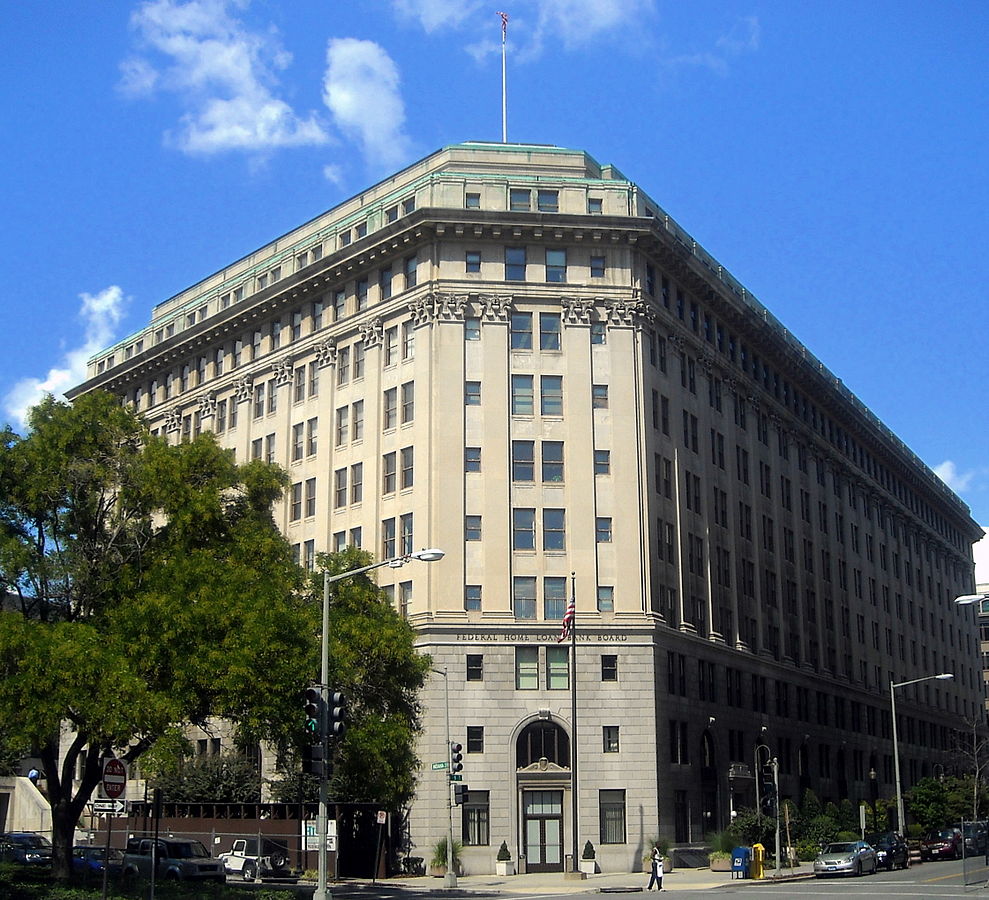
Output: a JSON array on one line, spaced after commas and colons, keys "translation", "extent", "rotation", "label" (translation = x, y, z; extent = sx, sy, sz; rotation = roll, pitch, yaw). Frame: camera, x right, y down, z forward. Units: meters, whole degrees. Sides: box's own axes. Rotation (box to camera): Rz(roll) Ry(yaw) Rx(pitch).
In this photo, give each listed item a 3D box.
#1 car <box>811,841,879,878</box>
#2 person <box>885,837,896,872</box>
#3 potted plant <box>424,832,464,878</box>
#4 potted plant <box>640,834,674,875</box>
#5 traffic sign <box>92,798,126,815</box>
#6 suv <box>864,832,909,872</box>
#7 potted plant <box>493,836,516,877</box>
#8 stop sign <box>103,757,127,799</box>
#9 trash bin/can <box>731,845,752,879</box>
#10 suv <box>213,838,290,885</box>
[{"translation": [16.277, 19.088, 71.405], "extent": [1.771, 2.024, 4.522], "rotation": [-11, -25, 28], "label": "car"}, {"translation": [19.976, 20.503, 77.401], "extent": [0.443, 1.402, 0.956], "rotation": [5, -2, 1], "label": "person"}, {"translation": [-2.515, 19.702, 74.067], "extent": [1.528, 2.359, 2.130], "rotation": [6, 7, 32], "label": "potted plant"}, {"translation": [7.916, 19.836, 76.011], "extent": [2.061, 2.324, 2.245], "rotation": [0, -17, 13], "label": "potted plant"}, {"translation": [-11.446, 10.688, 45.871], "extent": [0.696, 0.530, 1.218], "rotation": [17, -27, -35], "label": "traffic sign"}, {"translation": [19.796, 20.638, 77.946], "extent": [1.601, 1.517, 3.098], "rotation": [-19, -38, 20], "label": "suv"}, {"translation": [0.445, 20.041, 75.074], "extent": [1.044, 2.288, 1.216], "rotation": [0, -11, 7], "label": "potted plant"}, {"translation": [-11.190, 9.681, 45.222], "extent": [0.576, 1.274, 1.130], "rotation": [6, -21, -14], "label": "stop sign"}, {"translation": [11.246, 18.850, 69.865], "extent": [0.584, 1.399, 1.242], "rotation": [-16, -27, 40], "label": "trash bin/can"}, {"translation": [-10.826, 18.362, 68.390], "extent": [2.896, 1.667, 1.919], "rotation": [-8, -30, 33], "label": "suv"}]
